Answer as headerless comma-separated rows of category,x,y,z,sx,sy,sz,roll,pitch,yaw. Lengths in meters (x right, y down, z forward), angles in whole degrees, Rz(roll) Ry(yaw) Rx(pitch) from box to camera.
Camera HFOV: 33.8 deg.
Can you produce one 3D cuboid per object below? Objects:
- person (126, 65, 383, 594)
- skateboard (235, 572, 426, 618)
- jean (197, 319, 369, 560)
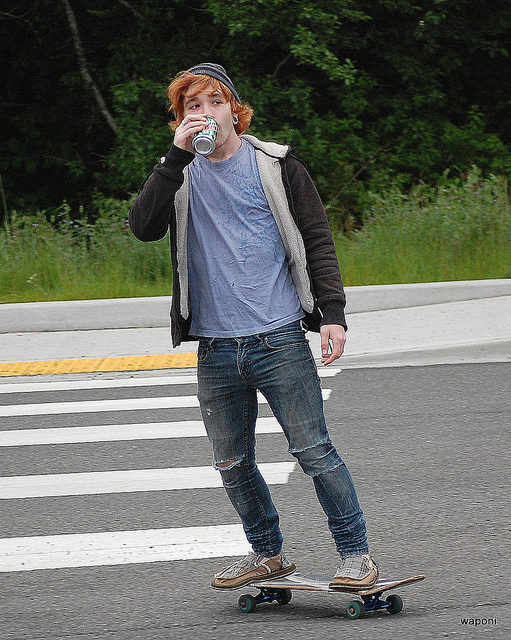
person,0.004,0.036,2.670,0.749,1.610,0.577,-4,-8,8
skateboard,0.237,0.899,2.755,0.561,0.100,0.195,-2,-1,31
jean,0.065,0.410,2.744,0.426,0.835,0.274,-10,10,15
